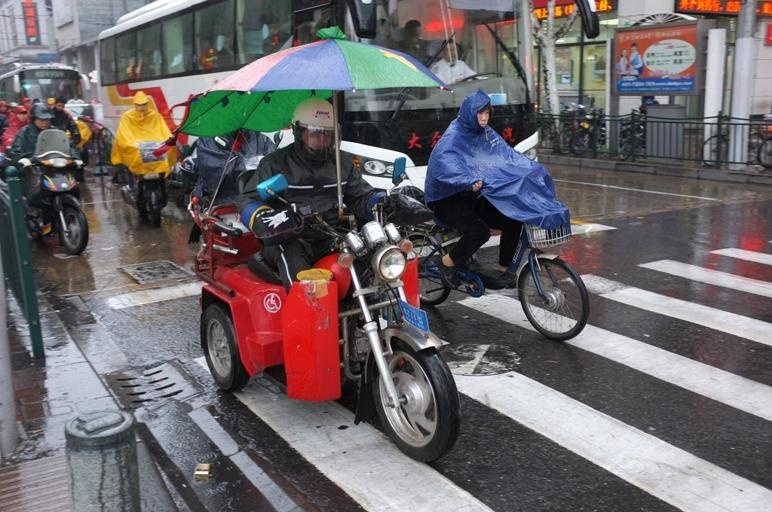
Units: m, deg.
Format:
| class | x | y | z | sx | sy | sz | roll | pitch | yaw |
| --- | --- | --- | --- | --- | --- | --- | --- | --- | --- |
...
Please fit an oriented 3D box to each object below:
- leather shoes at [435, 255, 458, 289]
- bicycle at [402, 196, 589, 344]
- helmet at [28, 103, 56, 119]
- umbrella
| class | x | y | z | sx | sy | sz | roll | pitch | yaw |
| --- | --- | --- | --- | --- | --- | --- | --- | --- | --- |
| leather shoes | 0.696 | 0.196 | 6.719 | 0.200 | 0.418 | 0.164 | -33 | -7 | 1 |
| bicycle | 1.173 | -0.001 | 6.931 | 1.182 | 1.399 | 2.708 | 5 | 5 | -37 |
| helmet | -5.918 | -2.485 | 10.302 | 0.459 | 0.200 | 0.319 | 12 | 20 | 35 |
| umbrella | -0.418 | -1.300 | 5.274 | 1.999 | 1.160 | 1.900 | 6 | 17 | 30 |
